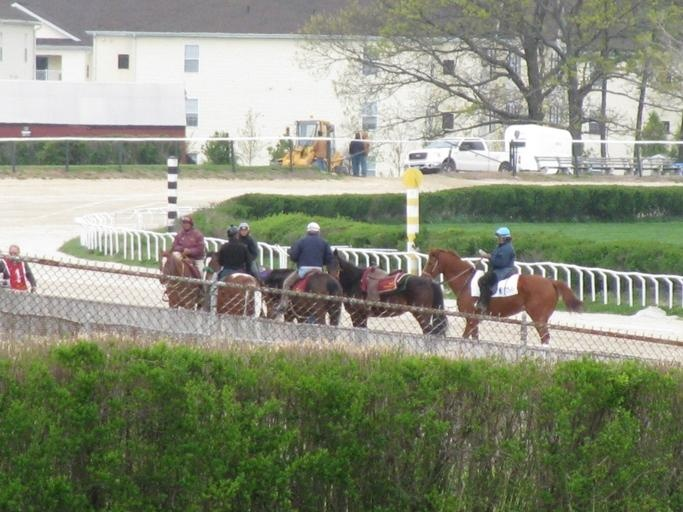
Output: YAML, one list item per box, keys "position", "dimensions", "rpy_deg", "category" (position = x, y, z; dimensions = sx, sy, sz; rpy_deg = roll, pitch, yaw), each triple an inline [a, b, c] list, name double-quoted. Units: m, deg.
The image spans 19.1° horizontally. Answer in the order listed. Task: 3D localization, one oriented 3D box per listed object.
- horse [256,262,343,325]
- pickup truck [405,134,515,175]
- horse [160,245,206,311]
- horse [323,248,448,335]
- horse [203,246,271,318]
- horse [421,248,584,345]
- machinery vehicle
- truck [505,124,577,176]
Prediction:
- position: [-1.424, 1.159, 65.937]
  dimensions: [2.366, 2.113, 0.752]
  rpy_deg: [-1, 31, 4]
  category: "horse"
- position: [5.830, -4.046, 88.413]
  dimensions: [3.621, 1.766, 2.068]
  rpy_deg: [4, -9, -1]
  category: "pickup truck"
- position: [-5.135, 0.810, 65.094]
  dimensions: [1.335, 1.564, 4.896]
  rpy_deg: [1, 7, -6]
  category: "horse"
- position: [1.322, 1.436, 66.287]
  dimensions: [3.871, 3.772, 1.091]
  rpy_deg: [1, 23, 6]
  category: "horse"
- position: [-3.518, 1.159, 64.721]
  dimensions: [0.905, 2.578, 3.208]
  rpy_deg: [-1, 8, -16]
  category: "horse"
- position: [5.183, 1.328, 65.509]
  dimensions: [4.820, 2.673, 2.861]
  rpy_deg: [3, 7, 7]
  category: "horse"
- position: [-1.467, -5.094, 93.327]
  dimensions: [3.381, 1.931, 12.238]
  rpy_deg: [2, 7, -2]
  category: "machinery vehicle"
- position: [8.319, -4.467, 85.069]
  dimensions: [2.711, 1.947, 1.391]
  rpy_deg: [3, 6, 11]
  category: "truck"
